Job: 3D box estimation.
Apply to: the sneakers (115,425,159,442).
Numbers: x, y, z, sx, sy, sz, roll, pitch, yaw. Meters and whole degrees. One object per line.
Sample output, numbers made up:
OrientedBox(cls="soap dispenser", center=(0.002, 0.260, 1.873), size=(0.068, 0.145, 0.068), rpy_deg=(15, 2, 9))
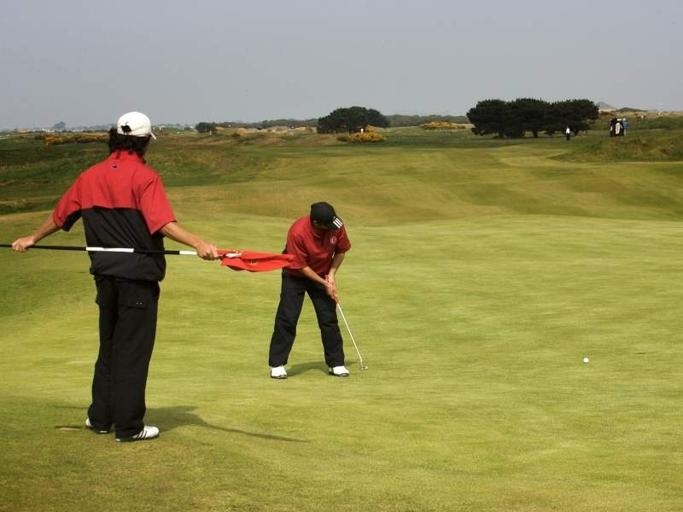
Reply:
OrientedBox(cls="sneakers", center=(-1.844, 1.584, 7.337), size=(0.405, 0.100, 0.119), rpy_deg=(-3, 1, -16))

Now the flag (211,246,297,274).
OrientedBox(cls="flag", center=(-0.904, 0.057, 8.660), size=(0.554, 0.099, 0.384), rpy_deg=(8, 3, -41))

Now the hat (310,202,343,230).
OrientedBox(cls="hat", center=(-0.192, -0.463, 9.744), size=(0.373, 0.319, 0.304), rpy_deg=(-1, 5, -1))

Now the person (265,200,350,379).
OrientedBox(cls="person", center=(-0.413, 0.421, 10.120), size=(1.006, 2.145, 0.825), rpy_deg=(-1, 7, 1))

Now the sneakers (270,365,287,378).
OrientedBox(cls="sneakers", center=(-0.769, 1.411, 10.030), size=(0.211, 0.139, 0.264), rpy_deg=(-1, 4, -4))
